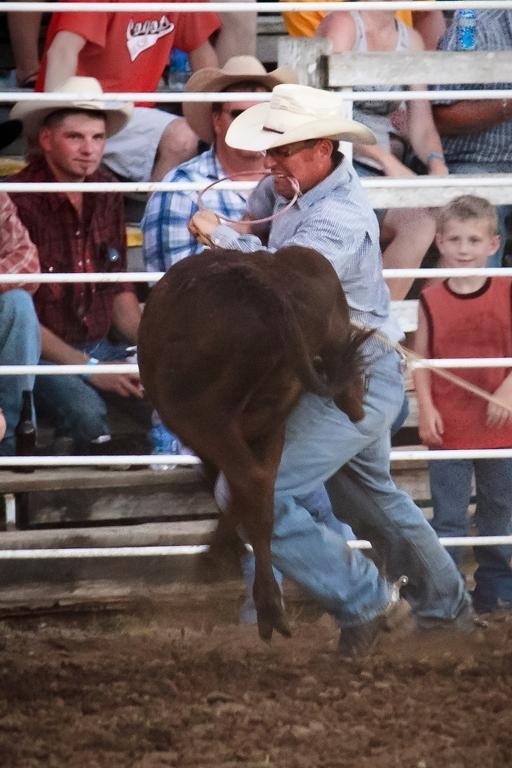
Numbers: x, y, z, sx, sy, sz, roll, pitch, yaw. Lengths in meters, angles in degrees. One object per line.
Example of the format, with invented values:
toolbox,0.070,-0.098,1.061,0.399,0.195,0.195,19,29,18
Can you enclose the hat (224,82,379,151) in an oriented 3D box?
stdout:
hat,0.116,-0.606,2.143,0.330,0.111,0.230,-3,10,-23

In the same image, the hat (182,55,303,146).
hat,-0.095,-0.932,2.800,0.361,0.123,0.352,-2,-25,-9

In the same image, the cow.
cow,0.013,0.171,2.255,0.558,1.031,0.211,-1,20,5
